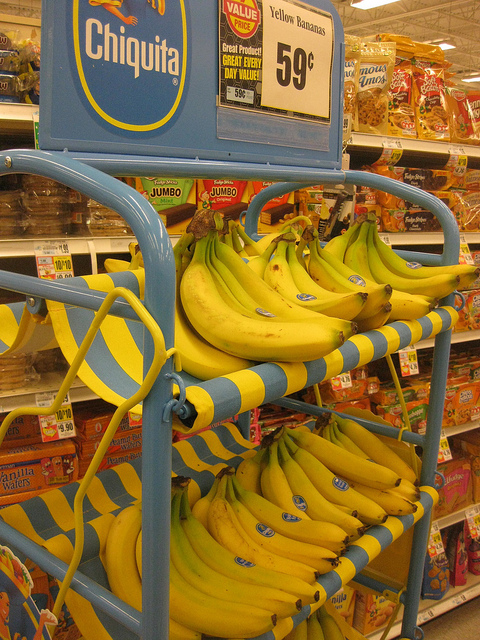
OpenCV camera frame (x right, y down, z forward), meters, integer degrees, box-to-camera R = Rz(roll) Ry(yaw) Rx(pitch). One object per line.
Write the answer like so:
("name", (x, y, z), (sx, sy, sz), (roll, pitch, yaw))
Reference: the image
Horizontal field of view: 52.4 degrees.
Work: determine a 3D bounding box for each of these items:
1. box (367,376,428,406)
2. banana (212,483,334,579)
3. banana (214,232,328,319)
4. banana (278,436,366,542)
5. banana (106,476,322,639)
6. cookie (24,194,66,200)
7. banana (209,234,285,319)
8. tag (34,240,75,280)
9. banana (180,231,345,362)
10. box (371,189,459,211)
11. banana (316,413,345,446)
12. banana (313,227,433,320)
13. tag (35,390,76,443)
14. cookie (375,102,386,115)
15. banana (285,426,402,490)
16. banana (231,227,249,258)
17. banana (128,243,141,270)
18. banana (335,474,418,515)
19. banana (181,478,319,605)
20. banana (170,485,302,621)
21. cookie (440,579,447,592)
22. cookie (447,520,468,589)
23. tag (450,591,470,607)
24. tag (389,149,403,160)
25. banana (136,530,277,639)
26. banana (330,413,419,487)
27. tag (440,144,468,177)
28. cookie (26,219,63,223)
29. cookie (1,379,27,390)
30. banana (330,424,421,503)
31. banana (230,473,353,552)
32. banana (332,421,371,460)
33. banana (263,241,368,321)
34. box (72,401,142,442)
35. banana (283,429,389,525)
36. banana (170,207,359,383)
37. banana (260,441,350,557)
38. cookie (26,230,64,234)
("box", (0.757, 0.335, 2.247), (0.187, 0.049, 0.134), (-8, 8, -36))
("banana", (0.066, 0.373, 0.865), (0.277, 0.113, 0.059), (29, 31, -9))
("banana", (0.035, -0.039, 0.845), (0.112, 0.058, 0.296), (7, -28, 27))
("banana", (0.159, 0.339, 0.956), (0.155, 0.031, 0.056), (56, 17, 25))
("banana", (-0.063, 0.348, 0.772), (0.316, 0.199, 0.180), (23, 9, 27))
("cookie", (-0.634, -0.398, 1.582), (0.120, 0.019, 0.043), (-10, 16, -34))
("banana", (0.012, -0.067, 0.782), (0.061, 0.173, 0.025), (-34, -3, -24))
("tag", (-0.561, -0.185, 1.470), (0.107, 0.112, 0.106), (-8, 15, -27))
("banana", (0.015, -0.029, 0.644), (0.123, 0.159, 0.269), (-10, 16, -35))
("box", (0.869, -0.575, 2.326), (0.595, 0.098, 0.165), (-12, 17, -39))
("banana", (0.215, 0.259, 1.169), (0.029, 0.094, 0.040), (-18, -22, -16))
("banana", (0.239, -0.096, 0.901), (0.070, 0.154, 0.238), (-8, 28, -1))
("tag", (-0.549, 0.286, 1.437), (0.100, 0.160, 0.066), (-4, 13, -15))
("cookie", (0.582, -0.878, 2.012), (0.052, 0.041, 0.014), (-7, 14, -25))
("banana", (0.224, 0.309, 1.069), (0.182, 0.042, 0.061), (24, 9, 13))
("banana", (-0.003, -0.151, 0.964), (0.018, 0.071, 0.013), (-12, 29, -2))
("banana", (-0.196, -0.118, 0.892), (0.021, 0.048, 0.095), (-4, 14, -13))
("banana", (0.274, 0.361, 0.998), (0.133, 0.036, 0.044), (25, 33, 20))
("banana", (0.010, 0.369, 0.766), (0.245, 0.104, 0.053), (27, 13, 3))
("banana", (-0.009, 0.359, 0.728), (0.256, 0.165, 0.073), (12, 11, 41))
("cookie", (0.919, 1.197, 2.188), (0.011, 0.055, 0.034), (26, -22, -27))
("cookie", (1.066, 1.147, 2.373), (0.101, 0.238, 0.242), (5, 14, 26))
("tag", (0.997, 1.264, 2.214), (0.078, 0.018, 0.041), (-18, 3, -31))
("tag", (0.645, -0.681, 2.001), (0.037, 0.051, 0.012), (4, 47, -12))
("banana", (-0.047, 0.395, 0.661), (0.187, 0.081, 0.092), (7, 15, 29))
("banana", (0.311, 0.309, 1.138), (0.215, 0.044, 0.045), (42, 36, 16))
("tag", (1.028, -0.762, 2.325), (0.142, 0.135, 0.105), (11, 11, -27))
("cookie", (-0.633, -0.322, 1.578), (0.105, 0.012, 0.025), (-8, 15, -27))
("cookie", (-0.665, 0.192, 1.432), (0.071, 0.019, 0.018), (-11, 16, -36))
("banana", (0.302, 0.328, 1.092), (0.165, 0.034, 0.057), (46, 6, 11))
("banana", (0.071, 0.356, 0.879), (0.244, 0.086, 0.053), (28, 23, -7))
("banana", (0.263, 0.289, 1.152), (0.017, 0.033, 0.095), (-22, 58, -30))
("banana", (0.128, -0.055, 0.800), (0.188, 0.120, 0.059), (28, 20, 33))
("box", (-0.513, 0.342, 1.723), (0.148, 0.078, 0.231), (-6, 14, -20))
("banana", (0.191, 0.329, 1.004), (0.267, 0.088, 0.055), (31, 45, 31))
("banana", (-0.007, -0.021, 0.692), (0.205, 0.183, 0.301), (-15, 38, -38))
("banana", (0.097, 0.325, 0.968), (0.099, 0.065, 0.274), (3, 53, -56))
("cookie", (-0.639, -0.288, 1.588), (0.110, 0.015, 0.041), (-7, 15, -24))
